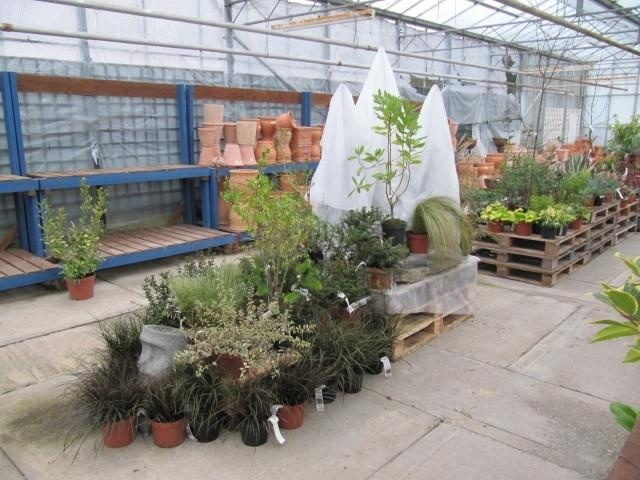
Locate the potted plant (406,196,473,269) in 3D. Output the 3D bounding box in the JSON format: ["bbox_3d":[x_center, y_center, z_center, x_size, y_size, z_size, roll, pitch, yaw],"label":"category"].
[{"bbox_3d":[1.061,-0.066,4.444,0.597,0.622,0.610,3,12,13],"label":"potted plant"}]
